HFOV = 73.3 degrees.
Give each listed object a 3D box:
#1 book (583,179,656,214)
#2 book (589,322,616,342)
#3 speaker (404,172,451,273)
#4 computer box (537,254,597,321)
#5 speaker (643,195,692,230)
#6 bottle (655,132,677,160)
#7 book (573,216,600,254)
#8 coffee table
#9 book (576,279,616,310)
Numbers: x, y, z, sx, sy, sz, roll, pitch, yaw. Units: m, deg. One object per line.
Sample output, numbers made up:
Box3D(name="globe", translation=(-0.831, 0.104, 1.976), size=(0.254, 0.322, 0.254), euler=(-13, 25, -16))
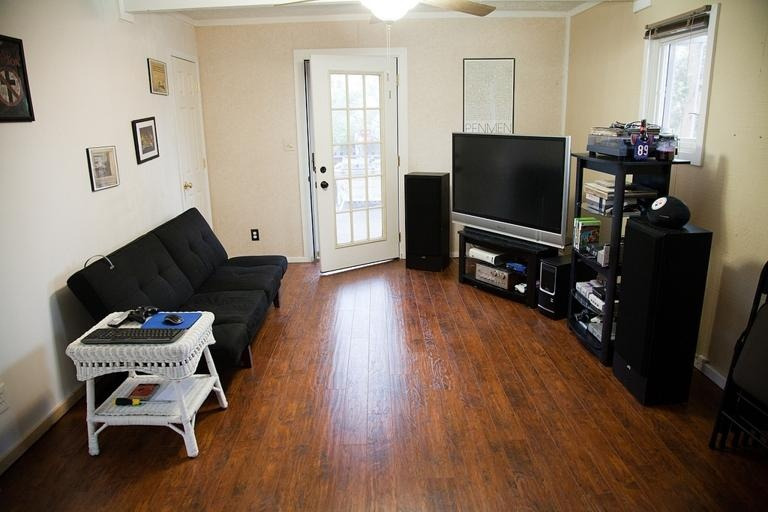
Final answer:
Box3D(name="book", translation=(1.877, -0.467, 4.044), size=(0.325, 0.083, 0.319), euler=(-8, 22, -15))
Box3D(name="book", translation=(1.781, 0.630, 4.289), size=(0.134, 0.037, 0.151), euler=(-2, 20, 1))
Box3D(name="speaker", translation=(0.492, -0.397, 6.009), size=(0.534, 1.098, 0.388), euler=(1, 18, 5))
Box3D(name="computer box", translation=(1.716, 0.273, 4.940), size=(0.449, 0.515, 0.267), euler=(-15, 23, -28))
Box3D(name="speaker", translation=(1.931, -0.286, 3.493), size=(0.225, 0.182, 0.234), euler=(-2, 37, 15))
Box3D(name="bottle", translation=(2.084, -0.800, 3.817), size=(0.119, 0.206, 0.206), euler=(-8, 12, -35))
Box3D(name="book", translation=(1.687, -0.164, 4.320), size=(0.233, 0.332, 0.195), euler=(6, 20, 7))
Box3D(name="coffee table", translation=(-1.591, 0.837, 3.518), size=(0.866, 0.817, 0.551), euler=(0, 18, 2))
Box3D(name="book", translation=(1.722, 0.314, 4.259), size=(0.190, 0.066, 0.276), euler=(-4, 23, 0))
